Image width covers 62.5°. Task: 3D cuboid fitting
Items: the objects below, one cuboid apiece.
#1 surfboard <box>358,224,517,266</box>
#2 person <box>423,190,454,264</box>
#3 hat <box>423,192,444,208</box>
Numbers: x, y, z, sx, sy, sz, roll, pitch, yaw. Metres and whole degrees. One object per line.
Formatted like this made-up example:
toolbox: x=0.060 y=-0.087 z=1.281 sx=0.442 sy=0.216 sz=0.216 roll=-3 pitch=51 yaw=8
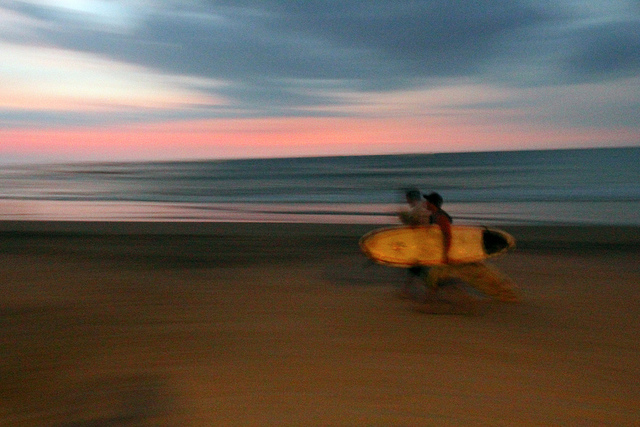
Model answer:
surfboard: x=2.173 y=0.590 z=9.804 sx=4.075 sy=0.776 sz=0.439 roll=-1 pitch=-25 yaw=-32
person: x=2.172 y=0.226 z=9.694 sx=0.546 sy=1.247 sz=0.987 roll=4 pitch=17 yaw=11
hat: x=2.091 y=-0.263 z=9.735 sx=0.313 sy=0.293 sz=0.554 roll=3 pitch=13 yaw=9
